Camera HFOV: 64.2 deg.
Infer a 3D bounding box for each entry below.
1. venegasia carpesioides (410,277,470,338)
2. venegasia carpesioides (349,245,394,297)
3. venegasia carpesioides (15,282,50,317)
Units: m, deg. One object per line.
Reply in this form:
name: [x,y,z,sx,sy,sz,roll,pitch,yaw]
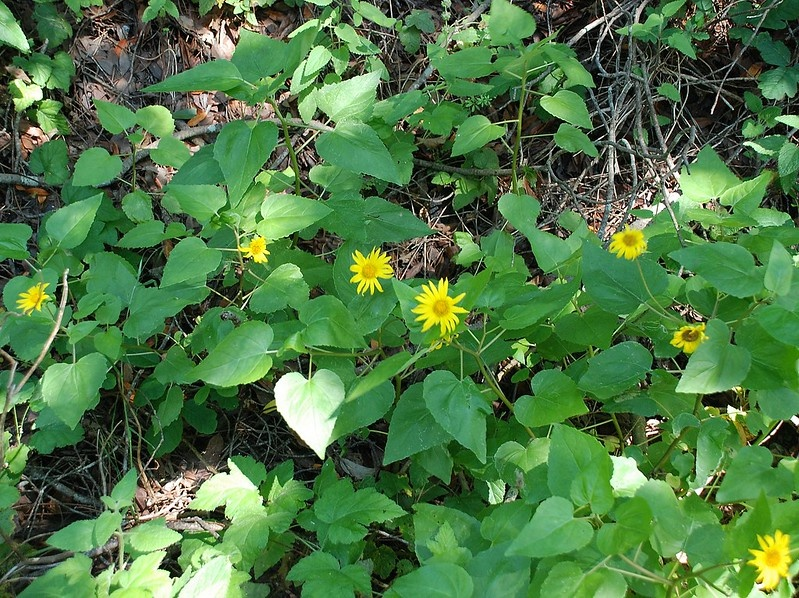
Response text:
venegasia carpesioides: [0.148,0.040,2.418,0.189,0.190,0.188,-29,66,-37]
venegasia carpesioides: [-0.129,-0.134,2.800,0.185,0.190,0.217,17,48,-7]
venegasia carpesioides: [-1.611,-0.002,2.784,0.134,0.081,0.151,-12,59,-30]
